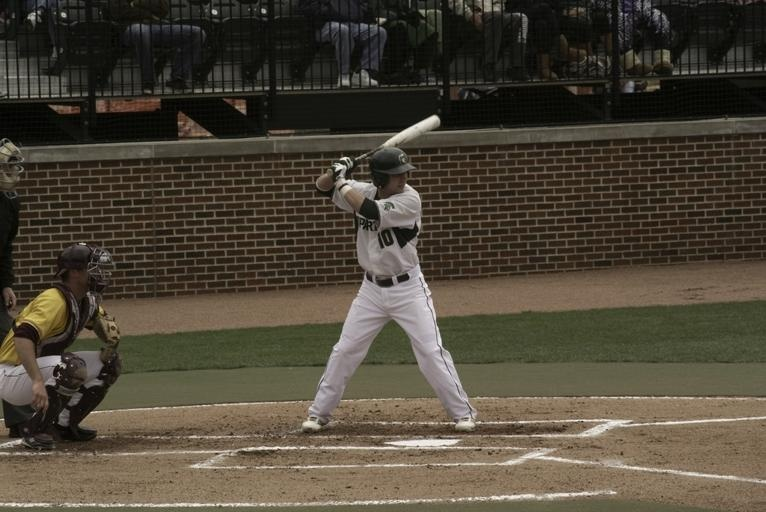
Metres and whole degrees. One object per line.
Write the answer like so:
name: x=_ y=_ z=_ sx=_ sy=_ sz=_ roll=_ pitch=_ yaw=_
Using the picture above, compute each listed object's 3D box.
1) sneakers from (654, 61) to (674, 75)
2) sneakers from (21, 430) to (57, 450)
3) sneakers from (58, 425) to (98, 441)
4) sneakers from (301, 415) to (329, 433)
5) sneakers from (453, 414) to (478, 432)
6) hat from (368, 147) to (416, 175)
sneakers: x=4.657 y=-3.139 z=29.870 sx=0.232 sy=0.138 sz=0.222 roll=-1 pitch=5 yaw=-16
sneakers: x=-4.250 y=2.276 z=22.091 sx=0.335 sy=0.122 sz=0.220 roll=5 pitch=3 yaw=15
sneakers: x=-3.790 y=2.227 z=22.401 sx=0.495 sy=0.202 sz=0.176 roll=10 pitch=0 yaw=-1
sneakers: x=-0.854 y=2.121 z=22.413 sx=0.377 sy=0.148 sz=0.154 roll=-5 pitch=-1 yaw=-14
sneakers: x=1.076 y=2.099 z=22.447 sx=0.204 sy=0.202 sz=0.391 roll=8 pitch=9 yaw=43
hat: x=0.102 y=-1.189 z=22.467 sx=0.474 sy=0.215 sz=0.348 roll=-1 pitch=12 yaw=23
